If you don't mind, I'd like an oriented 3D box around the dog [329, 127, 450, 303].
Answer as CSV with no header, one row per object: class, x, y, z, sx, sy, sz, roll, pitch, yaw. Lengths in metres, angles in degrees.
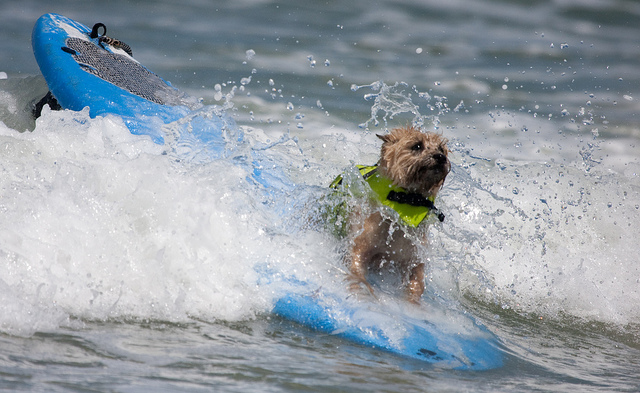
dog,0.762,0.132,11.229,1.324,1.642,1.332,9,27,4
